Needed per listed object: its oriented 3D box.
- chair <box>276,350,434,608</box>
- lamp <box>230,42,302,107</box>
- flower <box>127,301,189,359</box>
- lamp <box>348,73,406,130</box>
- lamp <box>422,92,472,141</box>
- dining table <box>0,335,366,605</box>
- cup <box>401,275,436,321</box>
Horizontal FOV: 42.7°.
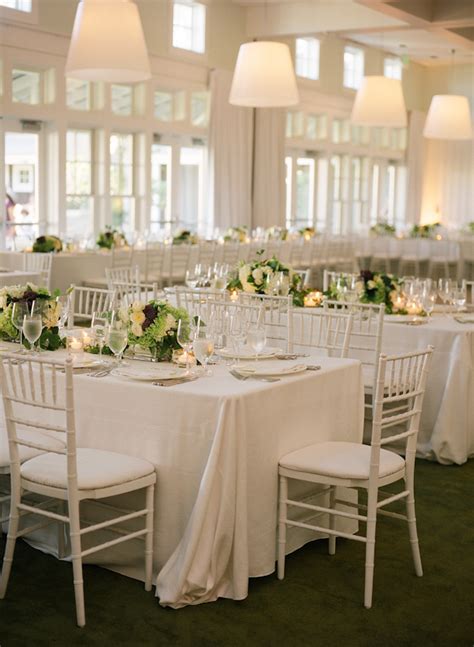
[{"bbox_3d":[0.374,0.463,2.000,0.436,0.765,0.422,3,2,45],"label":"chair"},{"bbox_3d":[0.169,-1.641,4.255,0.587,0.403,0.574,-2,14,-11],"label":"lamp"},{"bbox_3d":[-0.310,0.018,2.346,0.180,0.180,0.190,-16,15,-3],"label":"flower"},{"bbox_3d":[1.322,-1.952,5.447,0.516,0.366,0.511,-17,24,-40],"label":"lamp"},{"bbox_3d":[2.403,-2.329,6.883,0.591,0.483,0.593,8,13,40],"label":"lamp"},{"bbox_3d":[-0.063,0.379,2.016,0.810,0.444,0.815,4,6,42],"label":"dining table"},{"bbox_3d":[1.221,-0.187,4.091,0.262,0.297,0.272,-1,1,0],"label":"cup"}]
